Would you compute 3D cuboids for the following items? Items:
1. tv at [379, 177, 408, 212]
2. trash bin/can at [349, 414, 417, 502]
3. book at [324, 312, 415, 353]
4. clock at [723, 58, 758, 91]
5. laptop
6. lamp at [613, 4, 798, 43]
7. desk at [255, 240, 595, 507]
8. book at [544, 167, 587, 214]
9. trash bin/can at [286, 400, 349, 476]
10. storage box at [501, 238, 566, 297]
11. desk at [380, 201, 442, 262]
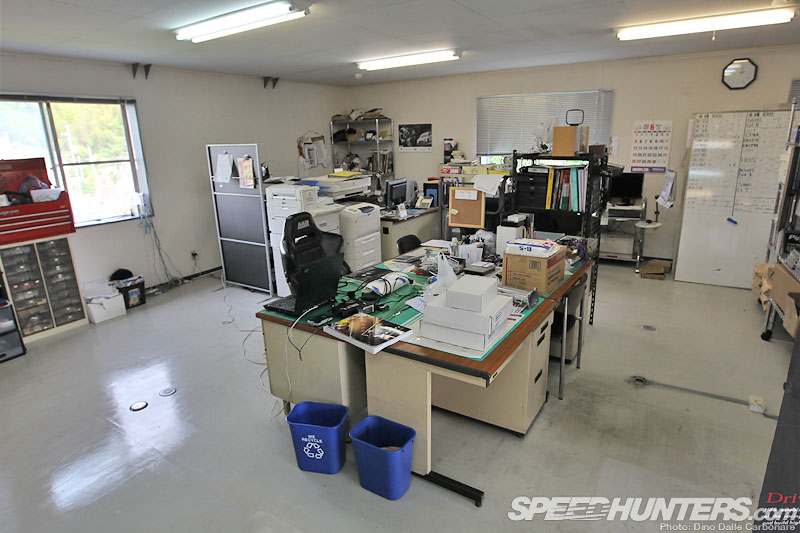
[{"bbox_3d":[-0.100,-1.097,7.958,0.243,0.647,0.754,8,18,28],"label":"tv"},{"bbox_3d":[-0.126,1.586,4.300,0.625,0.497,0.369,7,14,30],"label":"trash bin/can"},{"bbox_3d":[-0.295,0.542,4.317,0.419,0.059,0.404,16,27,33],"label":"book"},{"bbox_3d":[4.699,-2.666,7.148,0.493,0.489,0.036,-4,19,43],"label":"clock"},{"bbox_3d":[-0.869,0.110,4.745,0.551,0.475,0.640,14,24,29],"label":"laptop"},{"bbox_3d":[3.371,-2.717,5.795,1.722,0.181,0.466,8,19,26],"label":"lamp"},{"bbox_3d":[0.093,0.927,4.718,1.959,1.003,2.615,10,22,28],"label":"desk"},{"bbox_3d":[1.881,-0.888,5.926,0.434,0.578,0.591,8,16,23],"label":"book"},{"bbox_3d":[-0.698,1.524,4.563,0.578,0.455,0.344,-1,11,14],"label":"trash bin/can"},{"bbox_3d":[1.291,-0.044,4.957,0.489,0.460,0.687,13,21,31],"label":"storage box"},{"bbox_3d":[0.110,-0.479,7.097,0.336,0.738,0.802,9,22,26],"label":"desk"}]
